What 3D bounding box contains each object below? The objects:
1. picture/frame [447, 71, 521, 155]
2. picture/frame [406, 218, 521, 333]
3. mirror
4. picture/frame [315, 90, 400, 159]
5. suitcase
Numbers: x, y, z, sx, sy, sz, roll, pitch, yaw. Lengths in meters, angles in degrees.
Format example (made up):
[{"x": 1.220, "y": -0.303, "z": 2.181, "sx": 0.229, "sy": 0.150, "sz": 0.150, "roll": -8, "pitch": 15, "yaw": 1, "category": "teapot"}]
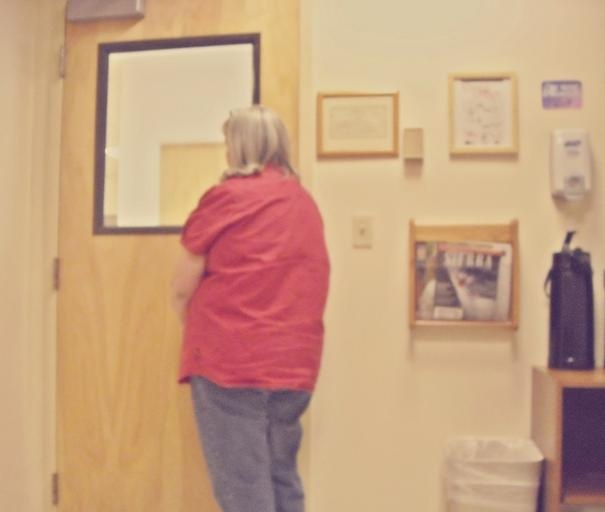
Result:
[{"x": 0.750, "y": -0.579, "z": 3.588, "sx": 0.310, "sy": 0.395, "sz": 0.024, "roll": 0, "pitch": -2, "yaw": 3, "category": "picture/frame"}, {"x": 0.663, "y": 0.082, "z": 3.563, "sx": 0.419, "sy": 0.451, "sz": 0.031, "roll": 0, "pitch": -4, "yaw": 2, "category": "picture/frame"}, {"x": -0.470, "y": -0.453, "z": 3.440, "sx": 0.767, "sy": 0.953, "sz": 0.046, "roll": 0, "pitch": -6, "yaw": 4, "category": "mirror"}, {"x": 0.228, "y": -0.549, "z": 3.626, "sx": 0.322, "sy": 0.260, "sz": 0.027, "roll": 0, "pitch": 0, "yaw": 10, "category": "picture/frame"}, {"x": 1.057, "y": 0.209, "z": 3.478, "sx": 0.170, "sy": 0.473, "sz": 0.083, "roll": 0, "pitch": -3, "yaw": 17, "category": "suitcase"}]
